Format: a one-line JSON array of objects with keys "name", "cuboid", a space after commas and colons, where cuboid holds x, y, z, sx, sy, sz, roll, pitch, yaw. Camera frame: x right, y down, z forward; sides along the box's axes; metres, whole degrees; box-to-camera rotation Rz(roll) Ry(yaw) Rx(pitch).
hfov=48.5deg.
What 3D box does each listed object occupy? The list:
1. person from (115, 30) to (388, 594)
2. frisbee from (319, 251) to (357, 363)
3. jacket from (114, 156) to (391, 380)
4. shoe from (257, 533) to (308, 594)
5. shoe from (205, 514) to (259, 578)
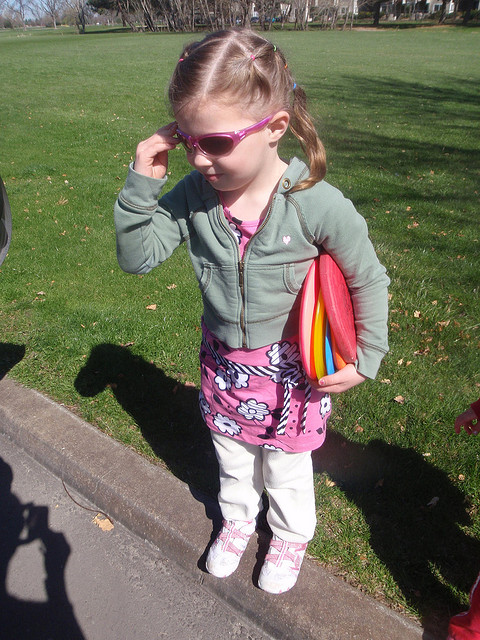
[{"name": "person", "cuboid": [0.048, 0.094, 1.786, 0.836, 1.880, 0.432, 17, 30, 31]}, {"name": "frisbee", "cuboid": [0.296, -0.032, 1.593, 0.134, 0.314, 0.166, 4, 26, 8]}, {"name": "jacket", "cuboid": [0.046, -0.197, 1.739, 0.862, 0.673, 0.433, 6, 19, 10]}, {"name": "shoe", "cuboid": [0.154, 0.909, 2.014, 0.083, 0.105, 0.262, 12, 19, 14]}, {"name": "shoe", "cuboid": [-0.024, 0.852, 2.131, 0.098, 0.115, 0.292, 22, 33, 8]}]
